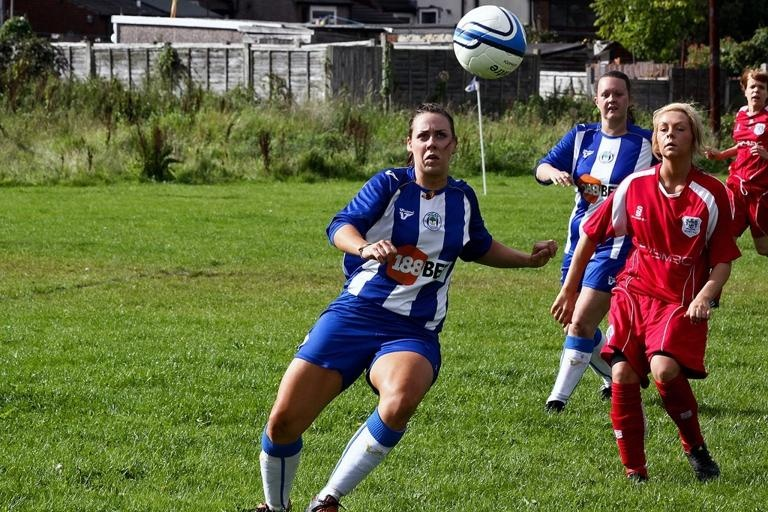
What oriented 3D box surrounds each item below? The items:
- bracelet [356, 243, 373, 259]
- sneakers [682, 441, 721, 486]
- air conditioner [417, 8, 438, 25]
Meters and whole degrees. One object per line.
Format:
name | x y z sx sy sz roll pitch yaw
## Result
bracelet | -0.174 -0.052 9.228 0.088 0.128 0.044 12 0 -17
sneakers | 2.998 1.968 9.986 0.175 0.496 0.204 -30 -13 4
air conditioner | 2.345 -12.628 54.625 1.028 0.757 0.464 0 14 -4
